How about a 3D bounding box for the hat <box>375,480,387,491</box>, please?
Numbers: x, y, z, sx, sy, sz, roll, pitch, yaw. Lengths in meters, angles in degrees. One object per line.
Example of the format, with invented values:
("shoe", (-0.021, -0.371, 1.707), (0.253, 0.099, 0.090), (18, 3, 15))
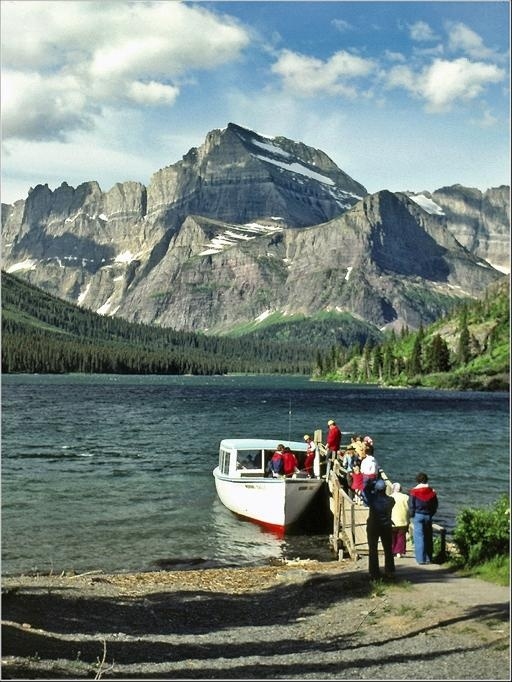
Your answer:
("hat", (4.116, 4.784, 33.106), (0.284, 0.383, 0.385), (-1, -11, 1))
